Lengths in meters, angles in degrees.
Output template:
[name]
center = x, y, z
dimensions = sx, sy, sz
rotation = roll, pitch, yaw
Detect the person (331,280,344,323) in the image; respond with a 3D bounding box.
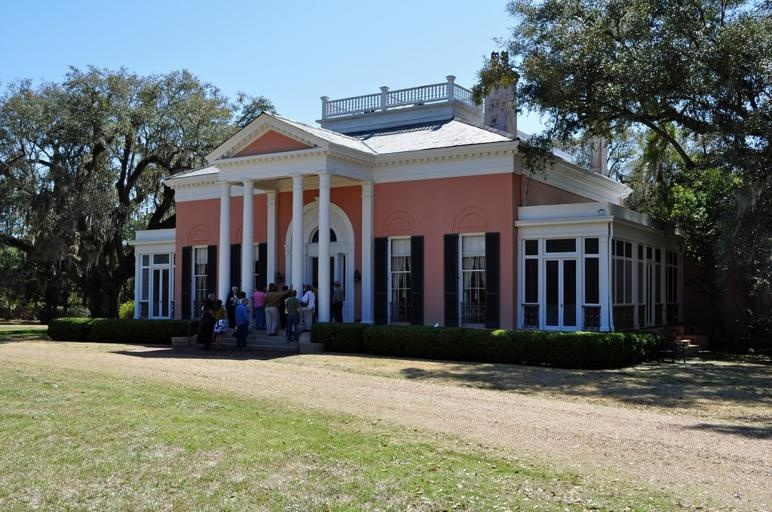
[person]
center = -1.976, 1.913, 26.355
dimensions = 0.447, 1.644, 0.973
rotation = 0, 7, -5

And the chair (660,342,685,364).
[chair]
center = 10.527, 3.512, 23.427
dimensions = 0.623, 0.800, 1.167
rotation = 1, 0, 29
